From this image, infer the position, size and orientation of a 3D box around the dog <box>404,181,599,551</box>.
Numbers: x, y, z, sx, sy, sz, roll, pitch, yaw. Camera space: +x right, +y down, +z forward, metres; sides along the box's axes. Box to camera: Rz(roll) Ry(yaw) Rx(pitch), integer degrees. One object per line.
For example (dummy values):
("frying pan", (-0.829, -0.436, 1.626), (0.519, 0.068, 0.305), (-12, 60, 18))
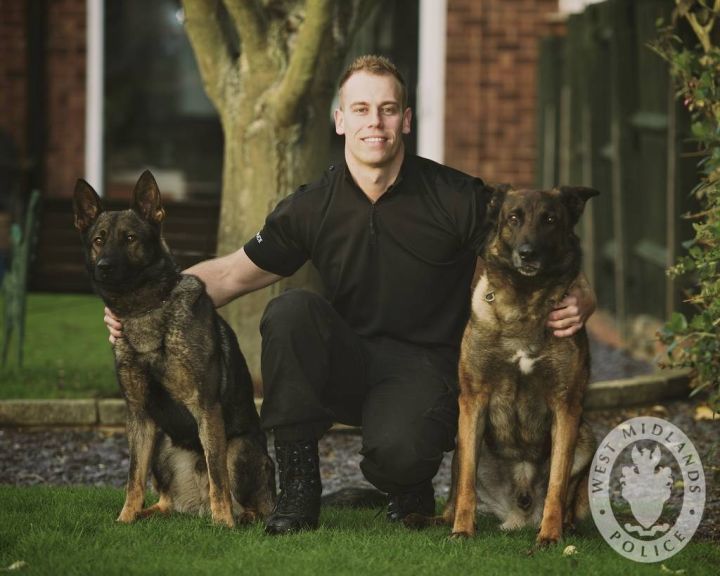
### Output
("dog", (0.996, 0.442, 7.613), (0.815, 2.099, 0.473), (1, 4, 10))

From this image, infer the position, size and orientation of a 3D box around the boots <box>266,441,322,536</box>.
("boots", (-0.412, 1.187, 7.659), (0.232, 0.550, 0.658), (-3, 5, 15))

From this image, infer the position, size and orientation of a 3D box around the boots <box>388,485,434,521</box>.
("boots", (0.329, 1.341, 7.924), (0.327, 0.217, 0.158), (9, -9, -34))
